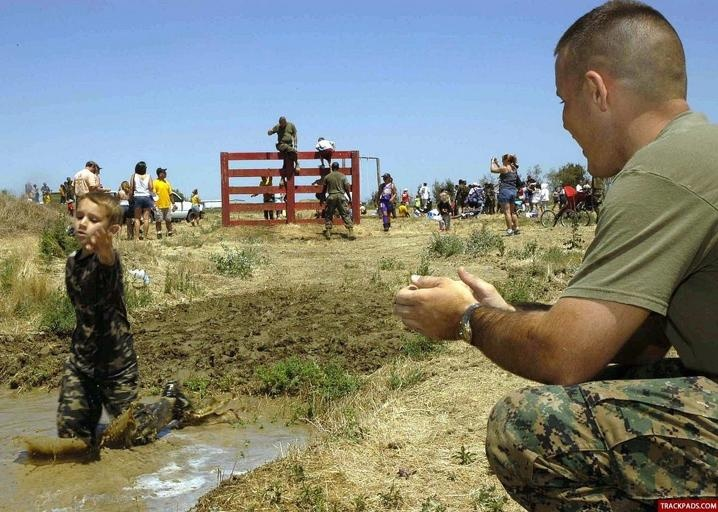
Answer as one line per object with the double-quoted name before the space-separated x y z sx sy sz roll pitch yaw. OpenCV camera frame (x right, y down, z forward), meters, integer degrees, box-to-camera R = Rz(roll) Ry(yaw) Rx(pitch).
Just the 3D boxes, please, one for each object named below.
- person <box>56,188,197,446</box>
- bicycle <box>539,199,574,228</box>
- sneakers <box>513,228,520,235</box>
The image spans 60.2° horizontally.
"person" -2.139 0.529 5.074 0.742 2.068 0.515 -4 7 17
"bicycle" 6.141 -1.289 19.360 1.113 0.805 0.591 -9 -1 29
"sneakers" 4.139 -0.631 16.188 0.136 0.092 0.201 -1 31 -1
